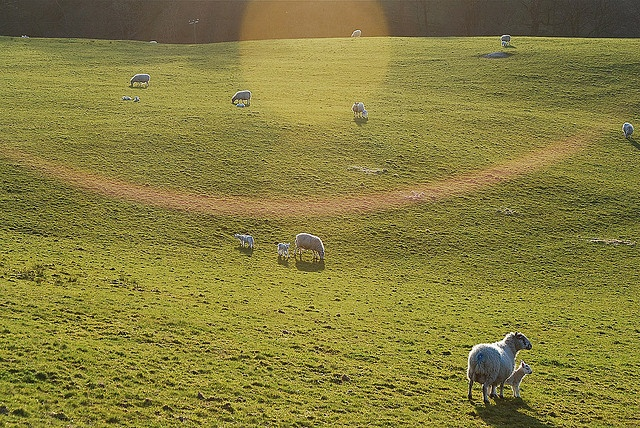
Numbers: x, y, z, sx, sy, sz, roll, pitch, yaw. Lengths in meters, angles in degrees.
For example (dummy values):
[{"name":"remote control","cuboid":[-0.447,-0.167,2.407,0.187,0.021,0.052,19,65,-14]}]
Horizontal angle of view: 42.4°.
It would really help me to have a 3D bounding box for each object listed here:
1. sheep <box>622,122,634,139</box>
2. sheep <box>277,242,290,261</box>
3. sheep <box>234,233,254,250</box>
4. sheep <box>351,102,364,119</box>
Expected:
[{"name":"sheep","cuboid":[29.657,-8.047,79.283,0.976,1.271,2.129,6,17,18]},{"name":"sheep","cuboid":[-2.577,2.636,59.700,0.775,1.101,0.581,-1,17,-3]},{"name":"sheep","cuboid":[-5.430,1.978,60.461,1.341,0.983,0.750,1,17,3]},{"name":"sheep","cuboid":[4.080,-10.576,83.288,1.413,1.490,1.641,0,17,1]}]
